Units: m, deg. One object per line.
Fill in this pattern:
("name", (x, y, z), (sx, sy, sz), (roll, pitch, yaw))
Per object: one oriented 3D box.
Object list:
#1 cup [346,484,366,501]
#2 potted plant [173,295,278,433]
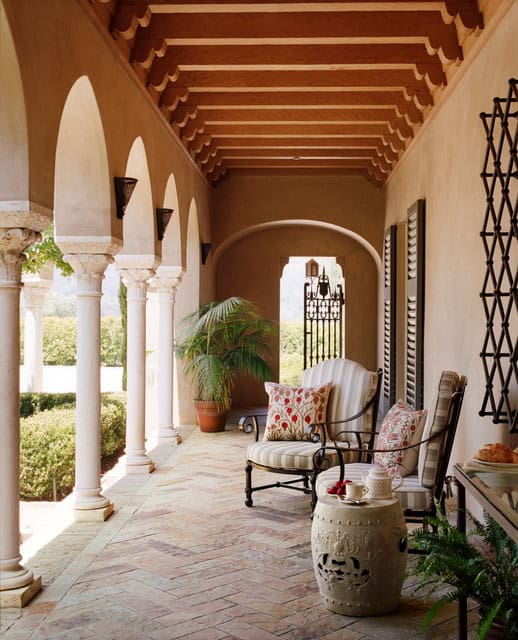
("cup", (0.424, 0.761, 2.574), (0.086, 0.075, 0.160), (-1, -3, 10))
("potted plant", (-0.418, 0.463, 7.802), (1.330, 1.996, 1.663), (0, -1, 29))
